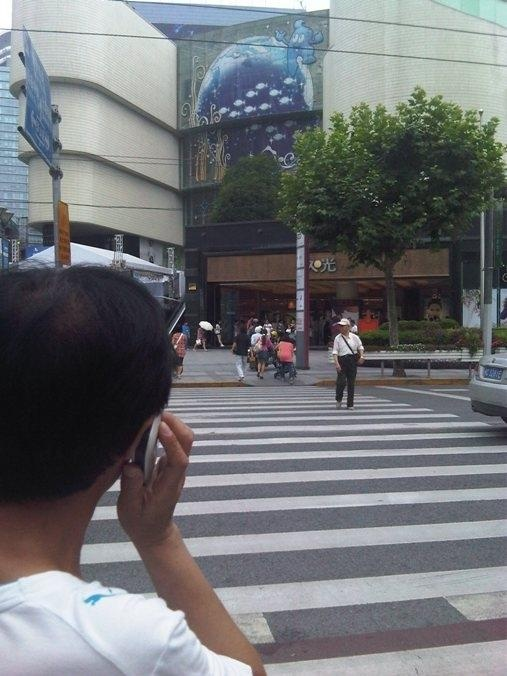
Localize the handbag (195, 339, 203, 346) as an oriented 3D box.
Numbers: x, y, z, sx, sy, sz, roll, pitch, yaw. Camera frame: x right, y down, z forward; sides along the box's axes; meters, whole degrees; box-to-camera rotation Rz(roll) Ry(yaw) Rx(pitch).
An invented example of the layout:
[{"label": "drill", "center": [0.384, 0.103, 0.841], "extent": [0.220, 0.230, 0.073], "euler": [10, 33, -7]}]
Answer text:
[{"label": "handbag", "center": [-2.640, 0.216, 35.535], "extent": [0.225, 0.250, 0.683], "euler": [4, -13, -2]}]

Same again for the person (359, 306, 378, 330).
[{"label": "person", "center": [5.615, -0.884, 36.257], "extent": [0.943, 1.794, 0.994], "euler": [3, 8, 14]}]

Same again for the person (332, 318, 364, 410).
[{"label": "person", "center": [1.573, 0.430, 12.169], "extent": [0.478, 1.447, 0.853], "euler": [0, 1, 8]}]
